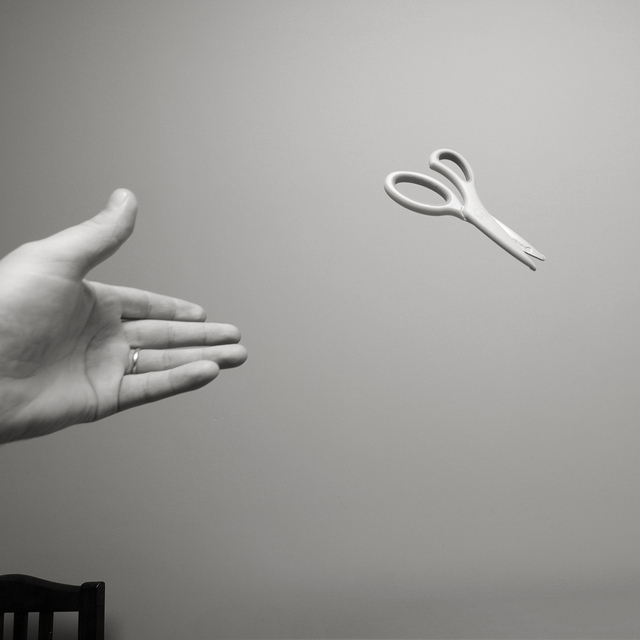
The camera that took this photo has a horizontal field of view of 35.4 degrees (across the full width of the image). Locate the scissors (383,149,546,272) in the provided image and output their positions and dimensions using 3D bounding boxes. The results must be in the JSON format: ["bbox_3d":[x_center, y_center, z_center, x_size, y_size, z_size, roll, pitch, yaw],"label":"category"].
[{"bbox_3d":[0.194,-0.143,1.437,0.161,0.276,0.019,-38,-29,-22],"label":"scissors"}]
